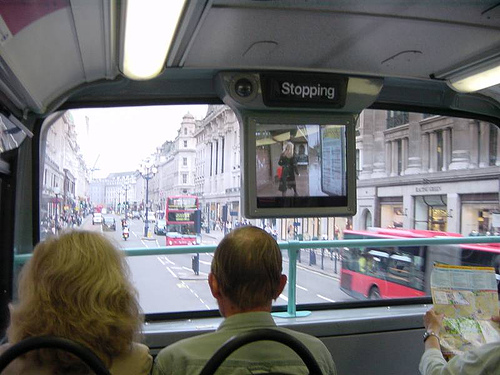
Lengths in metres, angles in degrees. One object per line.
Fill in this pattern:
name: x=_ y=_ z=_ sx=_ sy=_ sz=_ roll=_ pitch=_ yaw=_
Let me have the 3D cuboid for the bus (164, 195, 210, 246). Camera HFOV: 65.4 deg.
bus: x=-2.135 y=0.904 z=12.404 sx=1.115 sy=1.666 sz=3.072 roll=1 pitch=-6 yaw=-15

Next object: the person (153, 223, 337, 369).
person: x=-0.050 y=0.655 z=2.405 sx=1.203 sy=1.104 sz=0.645 roll=1 pitch=3 yaw=-12

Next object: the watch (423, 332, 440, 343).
watch: x=1.160 y=0.958 z=2.521 sx=0.073 sy=0.074 sz=0.049 roll=-11 pitch=27 yaw=36
